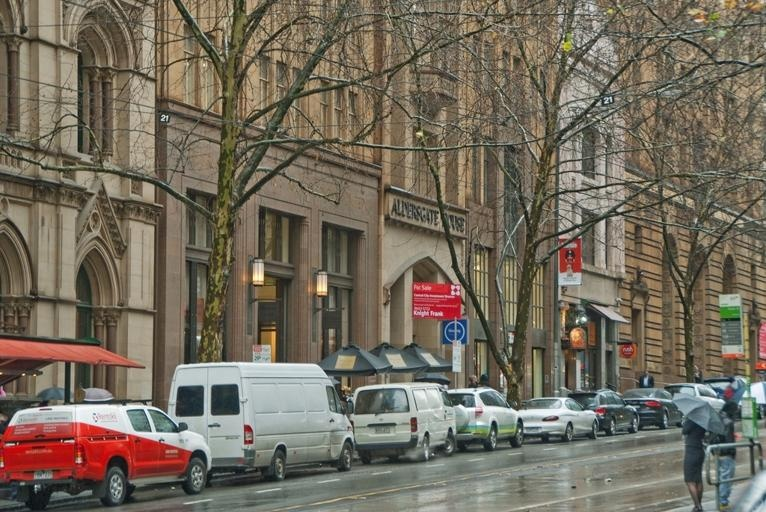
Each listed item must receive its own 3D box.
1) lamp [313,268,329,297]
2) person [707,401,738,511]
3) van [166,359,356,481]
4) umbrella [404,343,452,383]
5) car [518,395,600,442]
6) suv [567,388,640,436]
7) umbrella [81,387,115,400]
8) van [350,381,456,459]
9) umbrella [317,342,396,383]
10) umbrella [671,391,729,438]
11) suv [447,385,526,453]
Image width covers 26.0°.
[{"bbox_3d":[-2.409,0.953,65.338,0.442,1.089,1.114,-3,-10,4],"label":"lamp"},{"bbox_3d":[8.763,5.062,42.398,1.008,2.519,0.812,0,1,-4],"label":"person"},{"bbox_3d":[-3.458,4.959,51.363,3.213,3.286,6.673,-3,-5,29],"label":"van"},{"bbox_3d":[1.951,3.992,62.862,1.865,0.992,1.821,-2,-6,40],"label":"umbrella"},{"bbox_3d":[6.695,6.021,61.582,1.678,1.710,4.588,-12,-14,43],"label":"car"},{"bbox_3d":[8.674,6.167,66.196,1.976,1.732,5.109,-1,-4,23],"label":"suv"},{"bbox_3d":[-8.730,4.202,50.858,0.921,0.532,1.290,0,-11,-11],"label":"umbrella"},{"bbox_3d":[0.723,5.446,55.503,2.548,2.403,4.763,-4,-4,20],"label":"van"},{"bbox_3d":[-0.894,3.914,58.634,3.652,1.461,1.559,2,4,10],"label":"umbrella"},{"bbox_3d":[8.164,3.902,42.604,1.636,0.528,1.586,22,14,-16],"label":"umbrella"},{"bbox_3d":[3.372,5.696,58.625,2.254,2.183,5.014,-1,-4,22],"label":"suv"}]
